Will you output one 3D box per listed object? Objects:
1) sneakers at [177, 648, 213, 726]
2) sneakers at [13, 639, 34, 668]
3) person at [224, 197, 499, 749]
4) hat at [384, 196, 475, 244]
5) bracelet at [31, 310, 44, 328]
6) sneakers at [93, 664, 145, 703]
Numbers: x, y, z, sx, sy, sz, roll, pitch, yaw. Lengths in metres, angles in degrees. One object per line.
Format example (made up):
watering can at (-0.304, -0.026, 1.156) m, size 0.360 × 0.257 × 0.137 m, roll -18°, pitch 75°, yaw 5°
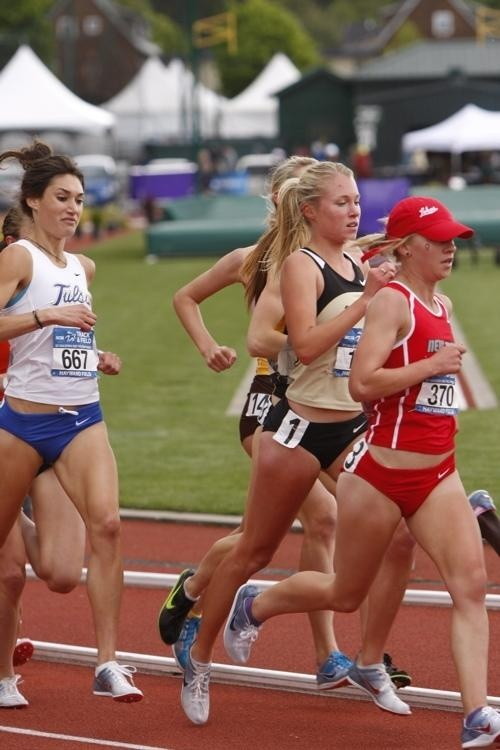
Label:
sneakers at (-0.182, 0.967, 2.527) m, size 0.080 × 0.195 × 0.083 m, roll 1°, pitch -29°, yaw -16°
sneakers at (-0.815, 0.977, 2.880) m, size 0.053 × 0.125 × 0.061 m, roll 5°, pitch 35°, yaw -29°
person at (0.351, 0.235, 2.234) m, size 0.374 × 1.467 × 0.896 m, roll -2°, pitch 2°, yaw -39°
hat at (0.464, -0.402, 2.168) m, size 0.222 × 0.095 × 0.142 m, roll 0°, pitch 6°, yaw 34°
bracelet at (-0.654, -0.172, 2.497) m, size 0.014 × 0.045 × 0.048 m, roll -30°, pitch 43°, yaw -4°
sneakers at (-0.380, 0.920, 2.431) m, size 0.095 × 0.100 × 0.251 m, roll 16°, pitch -21°, yaw -32°
